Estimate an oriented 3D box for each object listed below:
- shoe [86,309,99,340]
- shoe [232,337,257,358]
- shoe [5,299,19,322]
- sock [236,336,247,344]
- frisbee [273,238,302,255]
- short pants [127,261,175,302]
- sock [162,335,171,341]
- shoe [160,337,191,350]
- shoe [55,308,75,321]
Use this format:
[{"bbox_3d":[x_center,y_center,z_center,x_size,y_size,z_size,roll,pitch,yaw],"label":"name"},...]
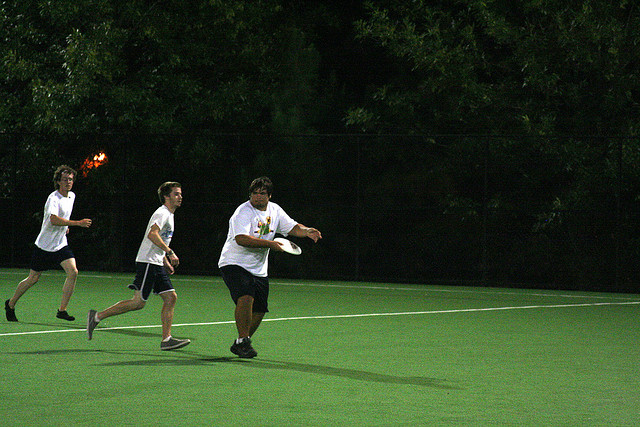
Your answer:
[{"bbox_3d":[-3.574,1.790,11.805,0.210,0.479,0.164,4,7,3],"label":"shoe"},{"bbox_3d":[-1.084,1.944,10.761,0.349,0.292,0.162,4,-7,-13],"label":"shoe"},{"bbox_3d":[-5.432,1.747,13.269,0.142,0.418,0.167,-15,5,-32],"label":"shoe"},{"bbox_3d":[-1.138,1.836,10.709,0.137,0.094,0.027,-1,-7,21],"label":"sock"},{"bbox_3d":[-0.437,0.509,10.676,0.274,0.081,0.284,33,15,35],"label":"frisbee"},{"bbox_3d":[-2.596,1.031,11.635,0.383,0.612,0.678,-10,-8,41],"label":"short pants"},{"bbox_3d":[-2.301,1.888,11.251,0.092,0.066,0.092,-2,-4,14],"label":"sock"},{"bbox_3d":[-2.201,1.982,11.327,0.489,0.189,0.165,-4,-3,0],"label":"shoe"},{"bbox_3d":[-4.537,1.830,13.359,0.416,0.180,0.142,4,2,25],"label":"shoe"}]
